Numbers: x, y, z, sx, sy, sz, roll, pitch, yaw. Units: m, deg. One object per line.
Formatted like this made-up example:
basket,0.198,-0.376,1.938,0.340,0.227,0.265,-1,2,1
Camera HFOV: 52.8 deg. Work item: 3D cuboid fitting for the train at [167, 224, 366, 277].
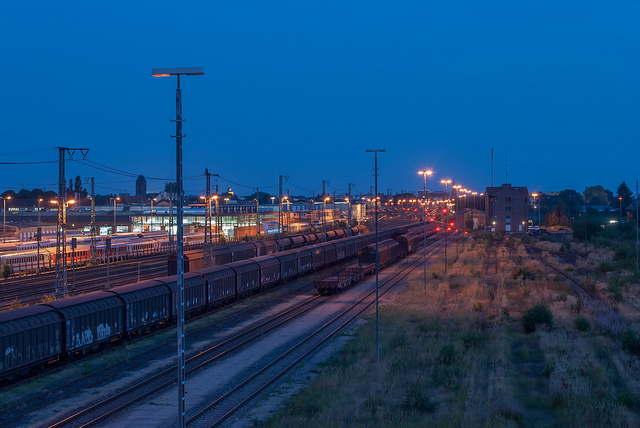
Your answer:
train,-1.151,6.653,102.312,2.369,3.947,49.661,43,19,16

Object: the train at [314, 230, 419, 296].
train,7.141,7.127,95.357,4.839,7.399,64.775,1,2,15
